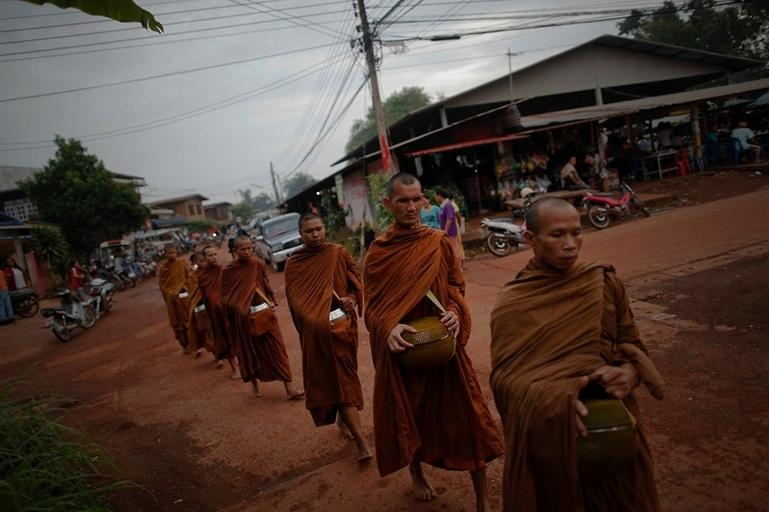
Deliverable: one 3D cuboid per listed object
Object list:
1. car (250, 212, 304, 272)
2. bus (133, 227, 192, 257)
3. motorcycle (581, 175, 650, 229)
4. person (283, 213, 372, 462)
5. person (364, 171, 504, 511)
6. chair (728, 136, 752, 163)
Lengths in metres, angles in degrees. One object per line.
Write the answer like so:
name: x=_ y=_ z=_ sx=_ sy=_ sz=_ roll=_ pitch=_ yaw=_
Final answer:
car: x=-3.655 y=-0.483 z=17.925 sx=1.961 sy=1.513 sz=3.509 roll=-10 pitch=8 yaw=-16
bus: x=-13.463 y=-0.823 z=31.298 sx=3.643 sy=2.075 sz=1.760 roll=-8 pitch=-11 yaw=-15
motorcycle: x=5.789 y=-1.182 z=13.160 sx=2.008 sy=1.249 sz=0.970 roll=-18 pitch=1 yaw=-21
person: x=-0.615 y=0.811 z=5.458 sx=0.817 sy=2.475 sz=0.889 roll=-10 pitch=8 yaw=3
person: x=0.336 y=0.732 z=4.550 sx=1.066 sy=2.896 sz=0.807 roll=-9 pitch=8 yaw=8
chair: x=11.439 y=-3.393 z=16.619 sx=0.569 sy=0.925 sz=0.677 roll=-5 pitch=9 yaw=32
